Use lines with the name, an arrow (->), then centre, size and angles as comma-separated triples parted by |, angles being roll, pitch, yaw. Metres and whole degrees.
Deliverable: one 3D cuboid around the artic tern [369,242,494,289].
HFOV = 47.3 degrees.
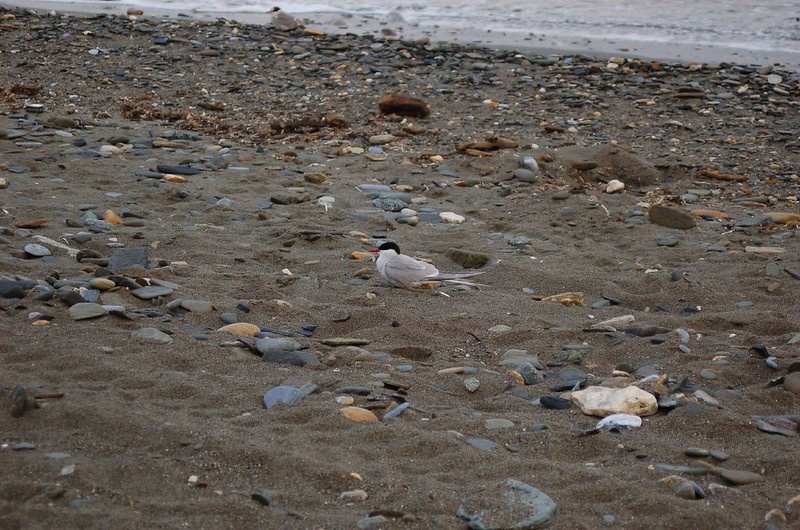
artic tern -> 0.198, 0.009, 8.122 | 0.872, 0.391, 0.358 | 3, 21, -2
